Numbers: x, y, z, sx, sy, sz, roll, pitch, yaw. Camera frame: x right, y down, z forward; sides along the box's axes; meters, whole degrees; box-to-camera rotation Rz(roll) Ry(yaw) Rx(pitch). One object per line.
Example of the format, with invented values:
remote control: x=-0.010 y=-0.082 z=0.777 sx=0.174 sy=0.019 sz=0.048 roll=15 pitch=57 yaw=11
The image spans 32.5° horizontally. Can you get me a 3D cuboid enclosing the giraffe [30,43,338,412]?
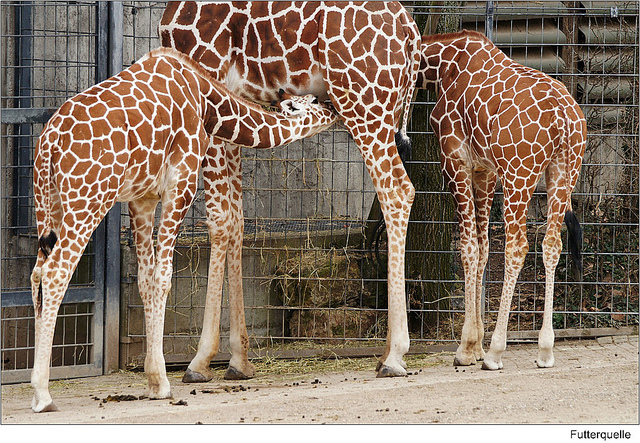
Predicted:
giraffe: x=-1.358 y=-0.038 z=9.762 sx=2.386 sy=3.191 sz=0.894 roll=-1 pitch=-2 yaw=-16

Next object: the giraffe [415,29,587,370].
giraffe: x=1.732 y=-0.246 z=10.315 sx=1.497 sy=3.190 sz=0.540 roll=-4 pitch=-3 yaw=38
